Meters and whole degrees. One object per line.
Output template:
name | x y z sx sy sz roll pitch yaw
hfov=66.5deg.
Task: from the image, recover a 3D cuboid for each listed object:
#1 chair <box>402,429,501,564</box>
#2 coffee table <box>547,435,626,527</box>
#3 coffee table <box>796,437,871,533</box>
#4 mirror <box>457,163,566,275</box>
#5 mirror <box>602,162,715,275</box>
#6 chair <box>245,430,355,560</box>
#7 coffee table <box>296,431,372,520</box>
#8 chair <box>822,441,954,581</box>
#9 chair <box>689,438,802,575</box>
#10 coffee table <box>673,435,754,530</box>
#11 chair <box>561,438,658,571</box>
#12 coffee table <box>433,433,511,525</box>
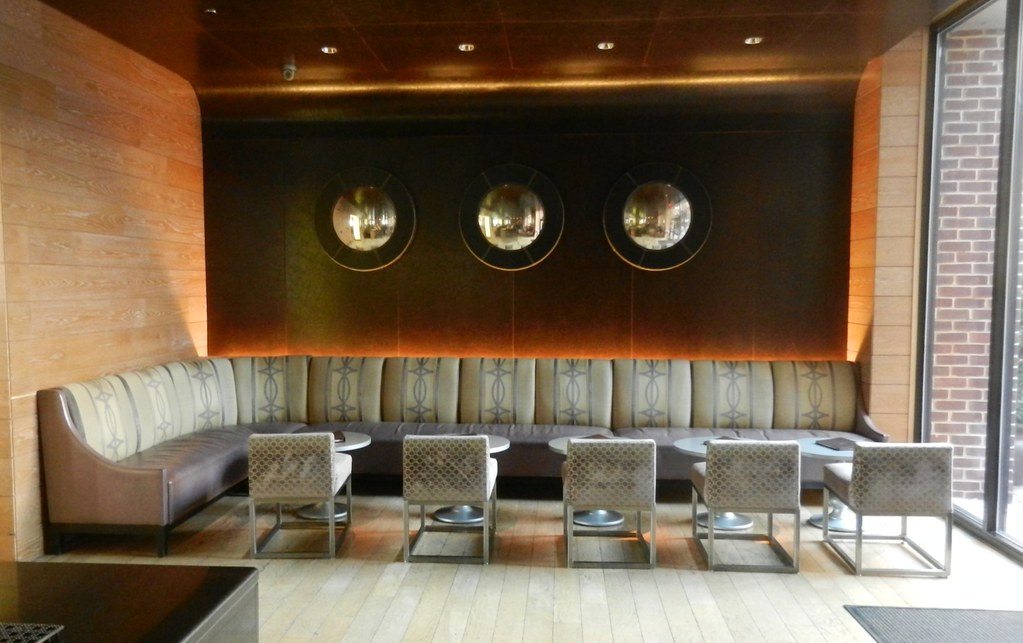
chair | -0.527 1.536 7.074 0.892 0.927 1.039 0 -89 -3
coffee table | 0.719 1.532 7.617 0.885 0.853 0.593 0 -94 -1
coffee table | 3.065 1.486 7.317 0.897 0.808 0.706 0 -93 0
mirror | 0.011 -1.153 8.646 1.129 0.102 1.132 -14 -85 3
mirror | 1.602 -1.132 8.548 1.155 0.098 1.191 1 -84 1
chair | -1.910 1.510 7.154 0.847 0.917 1.037 -1 -86 -6
coffee table | -1.708 1.472 7.525 0.868 0.809 0.592 1 -92 -1
chair | 3.324 1.560 6.932 0.804 0.988 1.058 -1 -87 4
chair | 2.099 1.583 7.096 0.800 1.193 1.146 0 -89 10
coffee table | 1.922 1.542 7.534 0.907 0.875 0.608 0 -93 1
chair | 0.856 1.578 6.965 0.828 0.844 0.990 0 -93 -2
coffee table | -0.388 1.453 7.540 0.913 0.845 0.612 1 -92 -7
